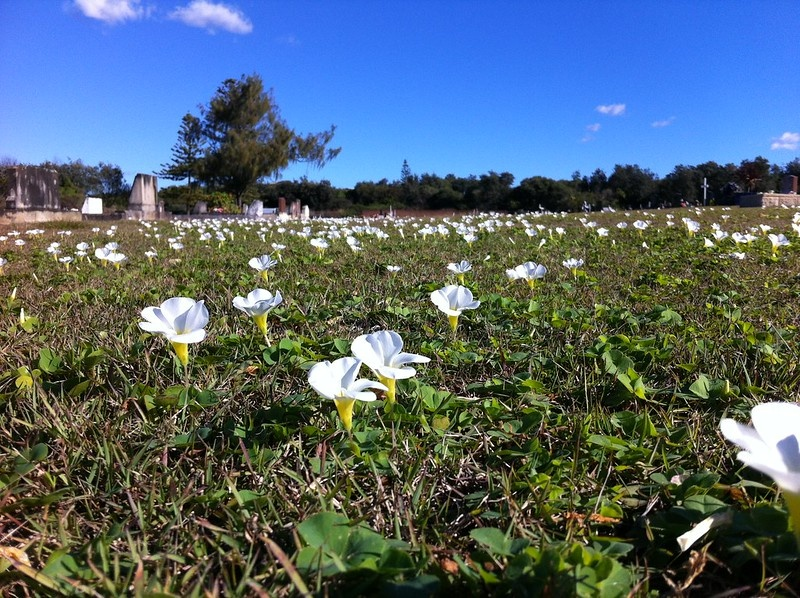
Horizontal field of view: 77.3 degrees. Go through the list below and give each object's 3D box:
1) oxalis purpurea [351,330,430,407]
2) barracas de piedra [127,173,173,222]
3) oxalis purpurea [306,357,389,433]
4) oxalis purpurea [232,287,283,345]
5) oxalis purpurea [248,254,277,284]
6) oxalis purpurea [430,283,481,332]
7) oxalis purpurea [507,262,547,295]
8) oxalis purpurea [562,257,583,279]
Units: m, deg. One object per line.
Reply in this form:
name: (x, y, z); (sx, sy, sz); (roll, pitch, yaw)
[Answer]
oxalis purpurea: (-0.054, 0.196, 1.809); (0.262, 0.181, 0.278); (15, 36, 6)
barracas de piedra: (-13.057, -5.017, 25.470); (1.369, 2.537, 2.664); (7, 9, -2)
oxalis purpurea: (-0.186, 0.328, 1.687); (0.229, 0.196, 0.259); (7, 22, 1)
oxalis purpurea: (-0.837, 0.120, 2.912); (0.213, 0.256, 0.227); (-8, 24, -11)
oxalis purpurea: (-1.327, -0.268, 4.783); (0.218, 0.336, 0.253); (-14, 59, -14)
oxalis purpurea: (0.264, 0.088, 2.539); (0.170, 0.186, 0.197); (-6, 29, 4)
oxalis purpurea: (1.083, -0.160, 4.280); (0.265, 0.271, 0.254); (-4, 24, -30)
oxalis purpurea: (1.786, -0.314, 5.214); (0.166, 0.232, 0.171); (-32, 29, -15)
